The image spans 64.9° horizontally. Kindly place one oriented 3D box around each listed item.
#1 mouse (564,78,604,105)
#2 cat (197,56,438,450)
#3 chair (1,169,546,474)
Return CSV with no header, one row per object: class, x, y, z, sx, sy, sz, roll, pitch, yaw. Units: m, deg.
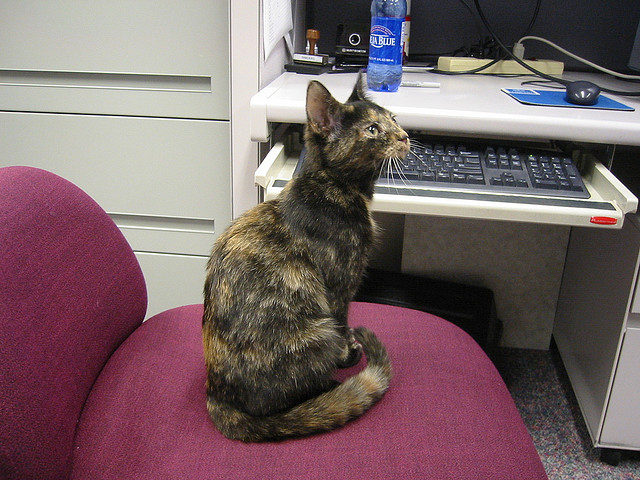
mouse,0.615,-0.362,1.184,0.060,0.036,0.104,4,26,13
cat,-0.037,0.020,0.867,0.351,0.618,0.300,-14,36,-20
chair,-0.082,0.209,0.868,0.627,0.450,0.507,2,33,4
